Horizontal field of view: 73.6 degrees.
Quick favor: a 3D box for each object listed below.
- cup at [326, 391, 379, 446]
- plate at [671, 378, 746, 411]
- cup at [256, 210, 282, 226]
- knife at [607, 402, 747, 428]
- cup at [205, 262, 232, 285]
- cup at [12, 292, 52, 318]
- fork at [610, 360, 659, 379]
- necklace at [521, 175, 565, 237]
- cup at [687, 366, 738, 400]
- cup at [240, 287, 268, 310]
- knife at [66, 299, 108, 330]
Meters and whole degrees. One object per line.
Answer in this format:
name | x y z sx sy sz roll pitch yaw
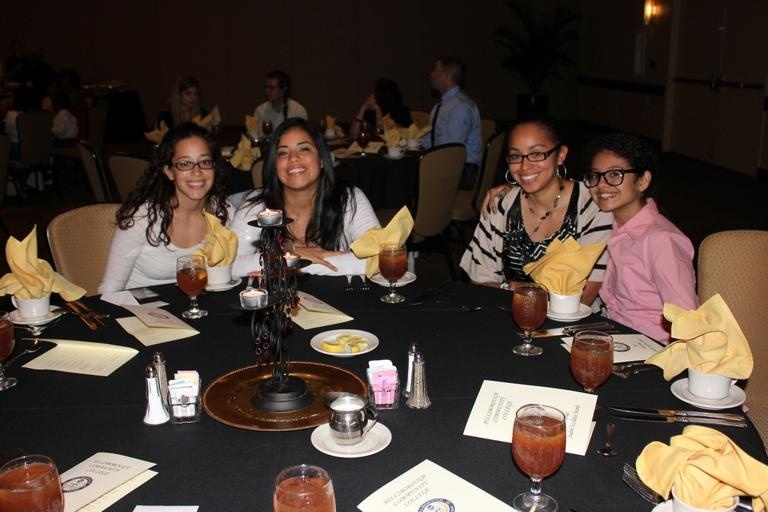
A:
cup | -0.090 0.420 1.342 0.139 0.095 0.098 2 0 -12
plate | 0.943 0.418 1.504 0.122 0.020 0.120 -1 13 25
cup | -0.315 -0.109 1.447 0.045 0.027 0.059 -2 6 1
knife | 0.823 0.447 1.438 0.310 0.023 0.054 -1 19 6
cup | -0.723 0.074 2.262 0.089 0.066 0.087 1 9 0
cup | -1.349 0.186 1.996 0.119 0.079 0.093 1 8 -3
fork | 0.807 0.365 1.657 0.157 0.006 0.055 -5 35 -15
necklace | 0.856 -0.265 2.712 0.075 0.272 0.203 20 -3 -38
cup | 0.957 0.367 1.506 0.108 0.074 0.082 3 0 5
cup | -0.325 0.102 1.306 0.058 0.026 0.057 3 15 -1
knife | -1.169 0.226 2.027 0.088 0.007 0.324 -16 28 -37
